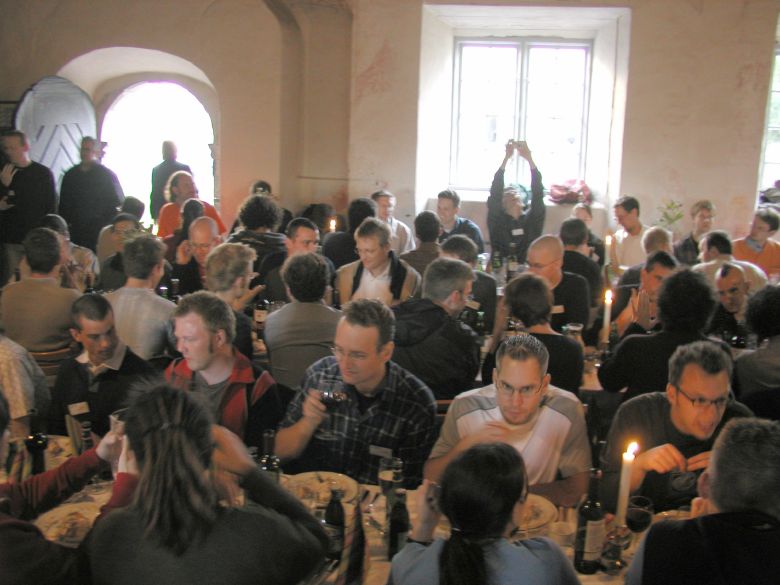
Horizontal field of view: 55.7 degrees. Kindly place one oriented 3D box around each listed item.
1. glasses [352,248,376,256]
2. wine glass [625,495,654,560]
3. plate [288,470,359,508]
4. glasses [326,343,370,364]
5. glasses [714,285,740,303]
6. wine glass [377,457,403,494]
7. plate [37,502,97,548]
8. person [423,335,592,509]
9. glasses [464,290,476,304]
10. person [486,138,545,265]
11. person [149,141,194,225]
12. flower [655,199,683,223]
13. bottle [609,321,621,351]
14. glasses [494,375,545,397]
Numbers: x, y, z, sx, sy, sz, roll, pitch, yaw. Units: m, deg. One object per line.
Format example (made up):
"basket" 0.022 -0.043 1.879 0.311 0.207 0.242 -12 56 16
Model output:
"glasses" -0.179 -0.279 5.022 0.130 0.075 0.169 0 0 13
"wine glass" 0.900 0.869 2.685 0.136 0.215 0.137 4 1 26
"plate" -0.283 0.756 2.867 0.147 0.033 0.141 -3 14 -43
"glasses" -0.173 0.264 3.179 0.160 0.069 0.045 4 7 13
"glasses" 1.940 0.003 4.237 0.059 0.088 0.083 -24 4 -44
"wine glass" 0.001 0.732 2.916 0.105 0.114 0.112 0 -1 0
"plate" -1.196 0.862 2.740 0.204 0.049 0.154 1 24 17
"person" 0.521 0.632 3.159 0.790 0.896 0.612 0 25 8
"glasses" 0.508 0.027 4.735 0.092 0.069 0.092 -1 19 3
"person" 1.191 -0.764 6.905 0.503 1.561 0.357 -2 40 6
"person" -2.555 -1.167 8.465 0.481 1.320 0.402 -9 45 -29
"flower" 2.759 -0.791 7.270 0.227 0.240 0.243 8 -2 6
"bottle" 1.373 0.266 4.509 0.049 0.156 0.113 17 9 -2
"glasses" 0.529 0.385 3.017 0.173 0.066 0.077 2 6 -4
